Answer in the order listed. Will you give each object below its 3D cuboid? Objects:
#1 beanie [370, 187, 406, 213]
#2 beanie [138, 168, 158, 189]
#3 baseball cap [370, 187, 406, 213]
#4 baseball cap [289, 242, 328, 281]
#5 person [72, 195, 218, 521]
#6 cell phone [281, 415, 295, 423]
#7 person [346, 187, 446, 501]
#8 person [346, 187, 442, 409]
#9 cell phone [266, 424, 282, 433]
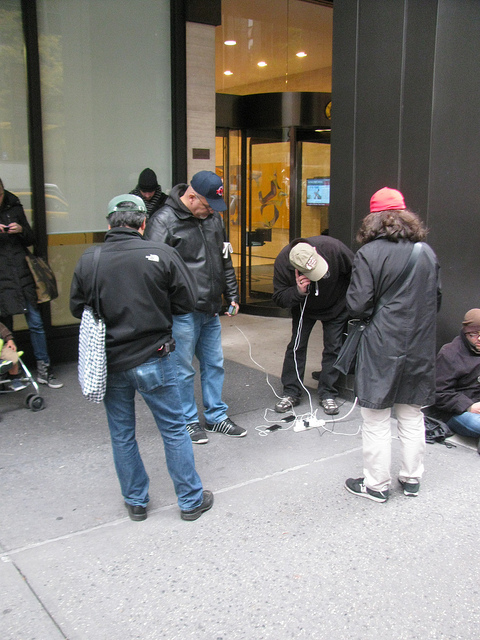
[{"bbox_3d":[0.760,-0.628,2.846,0.166,0.097,0.122,-26,32,-37],"label":"beanie"},{"bbox_3d":[-0.838,-1.287,5.068,0.175,0.127,0.190,-2,31,-10],"label":"beanie"},{"bbox_3d":[0.761,-0.625,2.839,0.118,0.094,0.161,19,33,41],"label":"baseball cap"},{"bbox_3d":[0.425,-0.375,3.650,0.212,0.227,0.276,-12,18,-25],"label":"baseball cap"},{"bbox_3d":[-0.424,0.240,2.527,0.552,1.534,0.330,-9,18,-16],"label":"person"},{"bbox_3d":[0.367,0.723,4.103,0.073,0.017,0.115,12,22,42],"label":"cell phone"},{"bbox_3d":[0.762,0.160,2.805,0.488,1.568,0.413,-16,21,-35],"label":"person"},{"bbox_3d":[0.740,-0.047,2.706,0.418,0.920,0.420,1,17,16],"label":"person"},{"bbox_3d":[0.247,0.758,3.912,0.062,0.030,0.142,10,21,38],"label":"cell phone"}]
